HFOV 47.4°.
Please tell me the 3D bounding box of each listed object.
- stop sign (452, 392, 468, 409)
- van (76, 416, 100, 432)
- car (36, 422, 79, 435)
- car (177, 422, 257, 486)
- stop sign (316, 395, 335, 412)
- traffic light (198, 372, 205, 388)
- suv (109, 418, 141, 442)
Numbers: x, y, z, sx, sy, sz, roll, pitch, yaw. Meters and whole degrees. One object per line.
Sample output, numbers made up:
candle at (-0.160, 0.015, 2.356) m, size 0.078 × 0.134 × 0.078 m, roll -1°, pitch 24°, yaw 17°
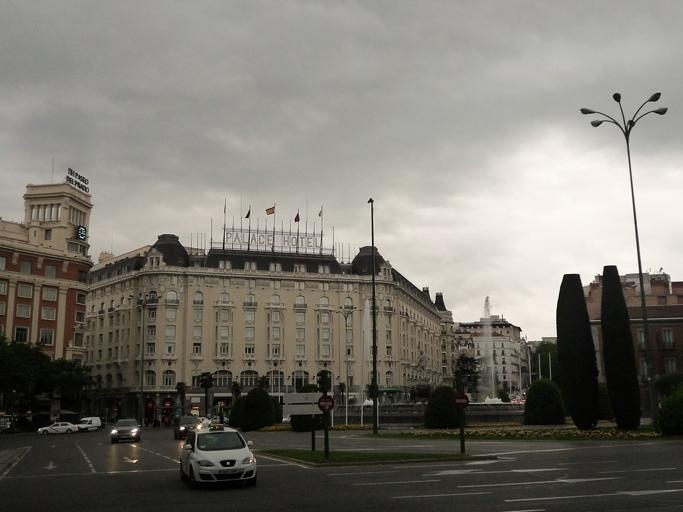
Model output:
stop sign at (6.184, 7.482, 40.006) m, size 0.557 × 0.791 × 1.675 m, roll -2°, pitch -13°, yaw 6°
van at (-29.749, 19.989, 91.588) m, size 1.403 × 1.315 × 2.704 m, roll -5°, pitch -16°, yaw 16°
car at (-30.317, 18.744, 83.975) m, size 1.875 × 1.134 × 4.631 m, roll -9°, pitch -15°, yaw 29°
car at (-5.110, 8.133, 31.428) m, size 3.249 × 2.335 × 2.056 m, roll -11°, pitch -16°, yaw 36°
stop sign at (-0.826, 7.531, 39.273) m, size 0.732 × 1.014 × 1.201 m, roll 0°, pitch -13°, yaw -5°
traffic light at (-20.608, 18.519, 114.451) m, size 1.000 × 2.976 × 1.055 m, roll 3°, pitch 8°, yaw 11°
suv at (-16.263, 13.323, 58.713) m, size 2.071 × 1.647 × 2.286 m, roll 3°, pitch -14°, yaw -18°
